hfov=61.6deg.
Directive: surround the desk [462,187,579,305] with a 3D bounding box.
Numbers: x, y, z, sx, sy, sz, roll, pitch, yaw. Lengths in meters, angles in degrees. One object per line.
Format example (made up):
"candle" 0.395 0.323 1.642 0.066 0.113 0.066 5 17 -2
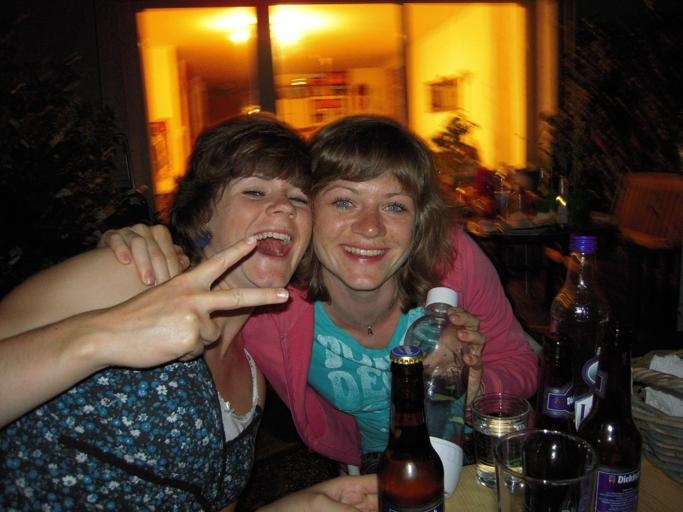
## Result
"desk" 1.548 -0.020 4.603 0.961 1.100 1.005 -4 1 3
